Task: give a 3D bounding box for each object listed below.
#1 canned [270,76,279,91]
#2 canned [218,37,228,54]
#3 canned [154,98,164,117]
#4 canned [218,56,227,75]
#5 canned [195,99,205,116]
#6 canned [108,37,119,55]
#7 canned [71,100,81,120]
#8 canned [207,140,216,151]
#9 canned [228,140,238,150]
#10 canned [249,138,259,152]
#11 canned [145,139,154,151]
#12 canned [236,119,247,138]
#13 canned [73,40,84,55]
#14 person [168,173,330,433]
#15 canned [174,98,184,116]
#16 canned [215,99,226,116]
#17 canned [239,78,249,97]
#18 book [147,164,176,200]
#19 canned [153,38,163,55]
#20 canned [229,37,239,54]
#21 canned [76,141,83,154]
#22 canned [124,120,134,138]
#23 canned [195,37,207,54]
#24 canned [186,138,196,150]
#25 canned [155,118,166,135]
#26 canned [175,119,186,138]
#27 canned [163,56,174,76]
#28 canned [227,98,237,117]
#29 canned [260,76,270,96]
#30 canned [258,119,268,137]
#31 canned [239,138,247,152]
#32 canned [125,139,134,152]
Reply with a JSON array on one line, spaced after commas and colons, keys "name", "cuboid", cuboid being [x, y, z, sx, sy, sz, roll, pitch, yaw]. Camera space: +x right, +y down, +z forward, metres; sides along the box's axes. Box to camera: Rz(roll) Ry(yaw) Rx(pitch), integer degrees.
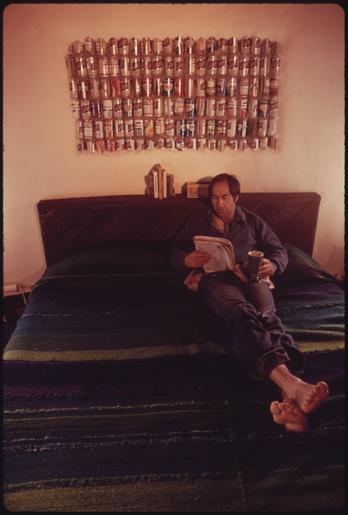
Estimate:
[{"name": "canned", "cuboid": [0.570, -0.988, 2.286, 0.066, 0.066, 0.064, -2, 19, 0]}, {"name": "canned", "cuboid": [0.267, -1.150, 2.191, 0.069, 0.075, 0.068, 3, 22, 12]}, {"name": "canned", "cuboid": [-0.086, -0.844, 2.282, 0.075, 0.116, 0.075, 1, 29, 1]}, {"name": "canned", "cuboid": [0.268, -1.057, 2.222, 0.055, 0.101, 0.032, -2, 22, 1]}, {"name": "canned", "cuboid": [0.154, -0.853, 2.289, 0.074, 0.117, 0.072, -1, 35, 0]}, {"name": "canned", "cuboid": [-0.327, -1.129, 2.162, 0.072, 0.109, 0.069, -4, 23, -11]}, {"name": "canned", "cuboid": [-0.553, -0.838, 2.279, 0.057, 0.099, 0.055, -12, 36, -14]}, {"name": "canned", "cuboid": [0.226, -0.673, 2.427, 0.053, 0.088, 0.050, 7, 32, 12]}, {"name": "canned", "cuboid": [0.352, -0.675, 2.424, 0.047, 0.046, 0.050, -15, 32, -25]}, {"name": "canned", "cuboid": [0.489, -0.679, 2.438, 0.067, 0.075, 0.031, -16, 26, -32]}, {"name": "canned", "cuboid": [-0.148, -0.665, 2.380, 0.057, 0.058, 0.055, -3, 24, -10]}, {"name": "canned", "cuboid": [0.400, -0.757, 2.363, 0.066, 0.085, 0.032, 3, 10, 5]}, {"name": "canned", "cuboid": [-0.515, -1.126, 2.165, 0.057, 0.062, 0.059, -11, 44, -15]}, {"name": "person", "cuboid": [0.229, 0.135, 1.773, 0.524, 0.565, 1.125, -5, 30, -1]}, {"name": "canned", "cuboid": [0.032, -0.852, 2.276, 0.074, 0.111, 0.069, -3, 23, -7]}, {"name": "canned", "cuboid": [0.266, -0.859, 2.294, 0.062, 0.102, 0.058, -14, 21, -35]}, {"name": "canned", "cuboid": [0.394, -0.955, 2.264, 0.077, 0.074, 0.075, -3, 5, -3]}, {"name": "book", "cuboid": [-0.091, -0.423, 2.444, 0.191, 0.244, 0.246, -7, 6, -14]}, {"name": "canned", "cuboid": [-0.084, -1.131, 2.161, 0.069, 0.104, 0.073, 0, 31, -1]}, {"name": "canned", "cuboid": [0.325, -1.151, 2.192, 0.072, 0.079, 0.071, 0, 31, 4]}, {"name": "canned", "cuboid": [-0.552, -0.650, 2.363, 0.045, 0.079, 0.047, -1, 29, -5]}, {"name": "canned", "cuboid": [-0.261, -0.743, 2.336, 0.049, 0.107, 0.031, 8, 24, 25]}, {"name": "canned", "cuboid": [0.148, -1.139, 2.183, 0.062, 0.096, 0.067, 20, 35, 29]}, {"name": "canned", "cuboid": [0.103, -0.672, 2.388, 0.051, 0.052, 0.056, -14, 20, -38]}, {"name": "canned", "cuboid": [-0.089, -0.761, 2.346, 0.071, 0.123, 0.076, -2, 36, -5]}, {"name": "canned", "cuboid": [0.039, -0.750, 2.339, 0.081, 0.118, 0.074, -1, 18, -1]}, {"name": "canned", "cuboid": [-0.030, -1.045, 2.196, 0.078, 0.130, 0.076, -1, 27, 0]}, {"name": "canned", "cuboid": [0.330, -0.856, 2.293, 0.072, 0.104, 0.070, -7, 26, -9]}, {"name": "canned", "cuboid": [0.518, -0.980, 2.291, 0.072, 0.118, 0.068, 3, 17, 17]}, {"name": "canned", "cuboid": [0.525, -0.771, 2.384, 0.077, 0.125, 0.071, 1, 19, 7]}, {"name": "canned", "cuboid": [0.415, -0.678, 2.468, 0.056, 0.096, 0.058, 0, 20, 1]}, {"name": "canned", "cuboid": [-0.260, -0.660, 2.378, 0.060, 0.064, 0.058, -3, 21, -9]}]
